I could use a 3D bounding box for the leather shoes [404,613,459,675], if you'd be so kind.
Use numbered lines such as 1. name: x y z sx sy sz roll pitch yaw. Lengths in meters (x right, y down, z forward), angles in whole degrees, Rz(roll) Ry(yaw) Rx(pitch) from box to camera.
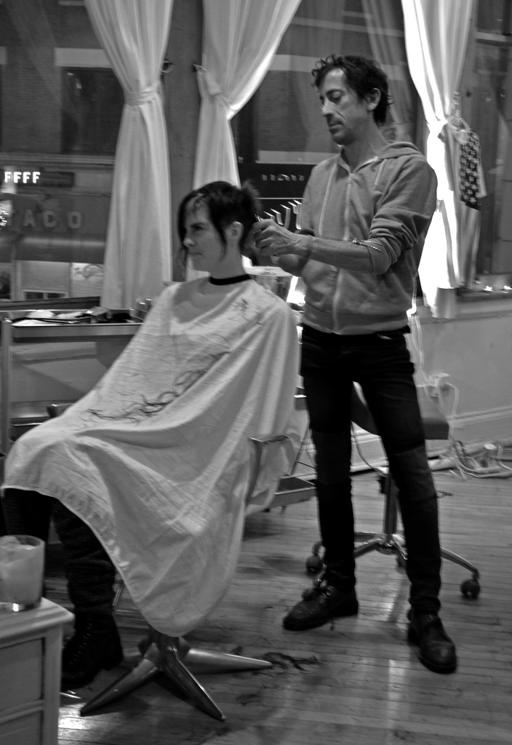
1. leather shoes: 0.410 0.629 1.780 0.065 0.062 0.175 -3 0 -7

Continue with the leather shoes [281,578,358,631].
1. leather shoes: 0.175 0.615 2.051 0.242 0.094 0.089 -1 3 -39

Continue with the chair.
1. chair: 0.442 0.321 2.466 0.645 0.719 0.686 -1 1 26

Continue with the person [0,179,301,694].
1. person: -0.202 0.129 1.600 0.481 1.097 0.534 5 6 24
